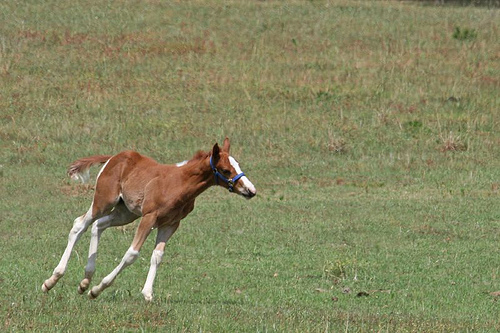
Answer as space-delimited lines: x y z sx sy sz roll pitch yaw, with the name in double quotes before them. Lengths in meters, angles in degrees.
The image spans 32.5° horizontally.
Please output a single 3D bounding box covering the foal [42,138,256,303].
"foal" -3.313 1.725 27.147 7.062 5.232 1.797 4 -13 29
